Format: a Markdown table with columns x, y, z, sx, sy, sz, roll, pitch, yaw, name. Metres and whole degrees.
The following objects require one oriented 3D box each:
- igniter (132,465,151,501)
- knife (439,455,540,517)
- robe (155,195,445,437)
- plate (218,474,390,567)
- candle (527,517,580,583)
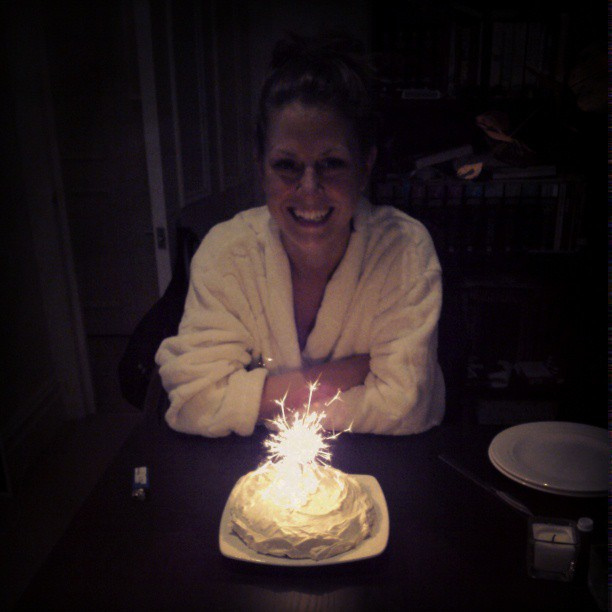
| x | y | z | sx | sy | sz | roll | pitch | yaw | name |
| --- | --- | --- | --- | --- | --- | --- | --- | --- | --- |
| -0.301 | 0.320 | 1.010 | 0.027 | 0.020 | 0.054 | 0 | 46 | -5 | igniter |
| 0.326 | 0.325 | 1.016 | 0.031 | 0.019 | 0.207 | -14 | 22 | -40 | knife |
| 0.029 | 0.033 | 1.499 | 0.584 | 0.686 | 0.162 | 0 | -11 | 9 | robe |
| -0.002 | 0.349 | 0.922 | 0.274 | 0.043 | 0.196 | 0 | 17 | -3 | plate |
| 0.376 | 0.371 | 0.854 | 0.078 | 0.111 | 0.077 | 1 | 5 | 7 | candle |
